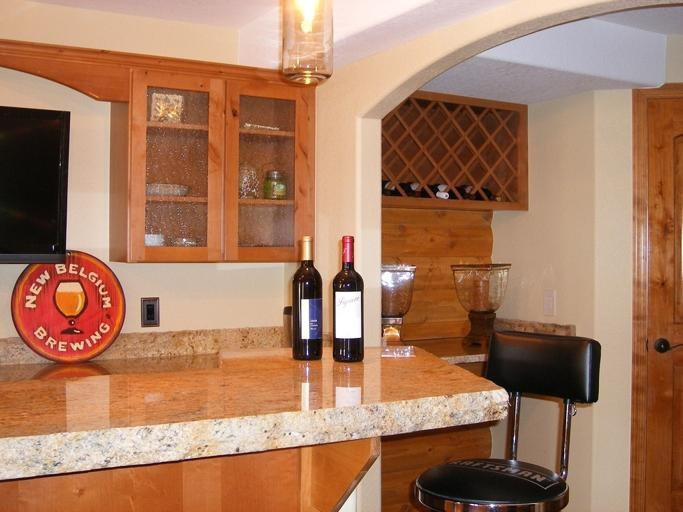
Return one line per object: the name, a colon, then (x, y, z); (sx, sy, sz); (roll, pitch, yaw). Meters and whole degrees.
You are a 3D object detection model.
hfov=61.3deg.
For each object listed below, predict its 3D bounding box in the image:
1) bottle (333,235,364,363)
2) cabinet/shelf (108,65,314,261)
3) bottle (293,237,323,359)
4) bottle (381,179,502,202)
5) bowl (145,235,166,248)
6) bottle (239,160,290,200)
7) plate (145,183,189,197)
bottle: (0.028, 0.150, 2.075); (0.110, 0.449, 0.158); (2, 12, 2)
cabinet/shelf: (-0.696, -0.461, 2.862); (1.001, 0.973, 0.353); (1, -2, -23)
bottle: (-0.122, 0.158, 2.088); (0.103, 0.443, 0.155); (1, 12, -2)
bottle: (0.596, -0.406, 3.533); (0.700, 0.121, 0.171); (-1, 8, -19)
bowl: (-0.907, -0.075, 2.797); (0.094, 0.067, 0.050); (3, -11, -36)
bottle: (-0.398, -0.397, 2.947); (0.232, 0.227, 0.144); (0, 2, -8)
plate: (-0.844, -0.320, 2.815); (0.198, 0.066, 0.024); (-5, 13, -26)
